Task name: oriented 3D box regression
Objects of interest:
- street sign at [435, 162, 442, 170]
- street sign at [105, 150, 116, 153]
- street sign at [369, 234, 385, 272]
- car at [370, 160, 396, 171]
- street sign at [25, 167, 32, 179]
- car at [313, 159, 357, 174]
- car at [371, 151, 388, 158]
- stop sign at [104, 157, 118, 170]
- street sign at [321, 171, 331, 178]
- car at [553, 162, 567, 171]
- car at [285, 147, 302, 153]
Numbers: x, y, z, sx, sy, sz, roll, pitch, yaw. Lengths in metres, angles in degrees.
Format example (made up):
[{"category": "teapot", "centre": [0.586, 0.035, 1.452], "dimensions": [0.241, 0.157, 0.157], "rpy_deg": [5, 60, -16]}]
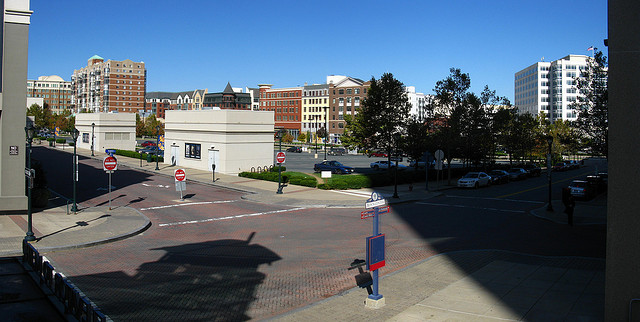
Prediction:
[{"category": "street sign", "centre": [13.545, 0.533, 50.575], "dimensions": [1.178, 1.005, 0.629], "rpy_deg": [-1, 2, -45]}, {"category": "street sign", "centre": [-35.649, -1.671, 75.159], "dimensions": [1.184, 0.277, 1.182], "rpy_deg": [-1, -2, 39]}, {"category": "street sign", "centre": [2.842, 4.664, 22.368], "dimensions": [0.961, 1.713, 0.354], "rpy_deg": [-4, 11, -37]}, {"category": "car", "centre": [9.371, 0.640, 68.778], "dimensions": [3.641, 1.056, 1.538], "rpy_deg": [-4, -2, 33]}, {"category": "street sign", "centre": [-19.693, 0.769, 29.696], "dimensions": [0.222, 0.686, 0.572], "rpy_deg": [-18, -22, -2]}, {"category": "car", "centre": [1.564, 0.880, 61.252], "dimensions": [5.721, 1.613, 2.402], "rpy_deg": [-1, 0, 15]}, {"category": "car", "centre": [13.384, -1.494, 97.953], "dimensions": [4.287, 1.204, 2.428], "rpy_deg": [0, 2, 5]}, {"category": "stop sign", "centre": [-17.875, 0.231, 37.597], "dimensions": [1.627, 1.408, 0.212], "rpy_deg": [0, 1, -32]}, {"category": "street sign", "centre": [0.647, 1.470, 46.639], "dimensions": [0.776, 0.661, 1.451], "rpy_deg": [3, 8, 8]}, {"category": "car", "centre": [45.778, 1.057, 84.186], "dimensions": [1.406, 0.946, 3.199], "rpy_deg": [4, 9, 43]}, {"category": "car", "centre": [-6.377, -2.704, 109.518], "dimensions": [2.497, 0.974, 1.615], "rpy_deg": [4, 3, 22]}]
